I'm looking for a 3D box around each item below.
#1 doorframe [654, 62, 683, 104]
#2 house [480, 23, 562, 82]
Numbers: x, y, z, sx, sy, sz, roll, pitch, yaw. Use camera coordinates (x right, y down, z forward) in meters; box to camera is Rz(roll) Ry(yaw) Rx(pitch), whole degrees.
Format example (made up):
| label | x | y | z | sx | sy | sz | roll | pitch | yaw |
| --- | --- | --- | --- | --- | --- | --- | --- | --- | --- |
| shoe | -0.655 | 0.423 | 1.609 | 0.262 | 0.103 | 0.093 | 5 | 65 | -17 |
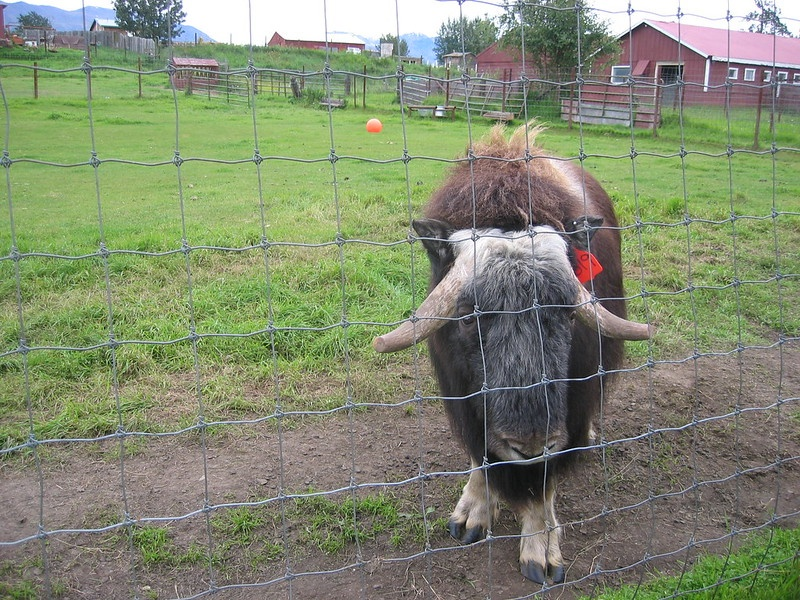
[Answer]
| label | x | y | z | sx | sy | sz | roll | pitch | yaw |
| --- | --- | --- | --- | --- | --- | --- | --- | --- | --- |
| doorframe | 6.875 | -5.723 | 20.144 | 0.701 | 0.802 | 1.402 | 5 | -29 | 20 |
| house | 4.235 | -9.092 | 30.246 | 2.149 | 1.461 | 2.782 | 10 | 22 | 29 |
